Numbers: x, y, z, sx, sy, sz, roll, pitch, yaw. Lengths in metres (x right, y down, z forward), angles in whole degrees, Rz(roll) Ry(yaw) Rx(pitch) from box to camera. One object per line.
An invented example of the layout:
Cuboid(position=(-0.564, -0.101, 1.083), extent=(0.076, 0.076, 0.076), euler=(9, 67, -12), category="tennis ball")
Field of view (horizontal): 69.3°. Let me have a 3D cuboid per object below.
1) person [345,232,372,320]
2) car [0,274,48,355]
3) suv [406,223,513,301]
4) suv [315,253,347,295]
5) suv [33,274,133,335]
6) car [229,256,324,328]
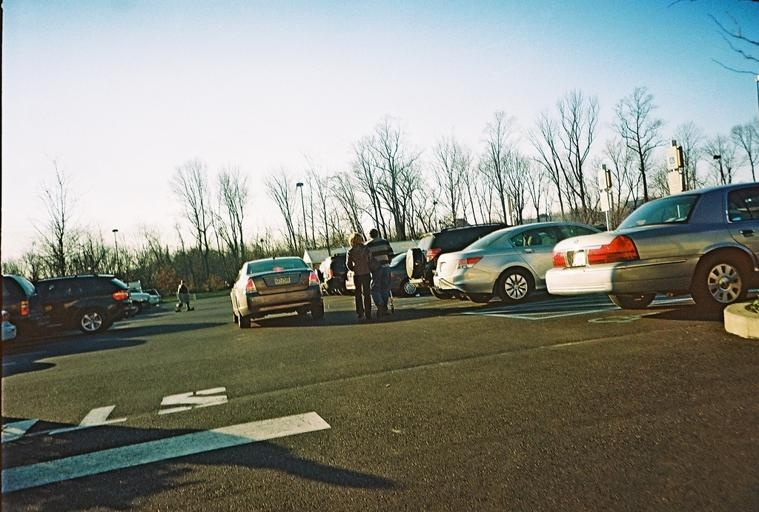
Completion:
Cuboid(position=(-0.489, 0.485, 13.406), extent=(0.561, 2.100, 0.957), euler=(-4, 5, -3), category="person")
Cuboid(position=(-10.188, 1.626, 15.636), extent=(1.021, 1.680, 5.486), euler=(-7, 5, -32), category="car")
Cuboid(position=(2.175, 0.086, 15.757), extent=(2.977, 1.607, 1.692), euler=(-8, 2, -17), category="suv")
Cuboid(position=(-2.459, 0.835, 27.812), extent=(1.440, 1.566, 2.575), euler=(-2, 6, -8), category="suv")
Cuboid(position=(-9.158, 1.430, 16.989), extent=(2.681, 1.265, 1.338), euler=(4, -4, -12), category="suv")
Cuboid(position=(-2.574, 0.893, 13.718), extent=(2.135, 1.682, 1.385), euler=(-5, 5, -7), category="car")
